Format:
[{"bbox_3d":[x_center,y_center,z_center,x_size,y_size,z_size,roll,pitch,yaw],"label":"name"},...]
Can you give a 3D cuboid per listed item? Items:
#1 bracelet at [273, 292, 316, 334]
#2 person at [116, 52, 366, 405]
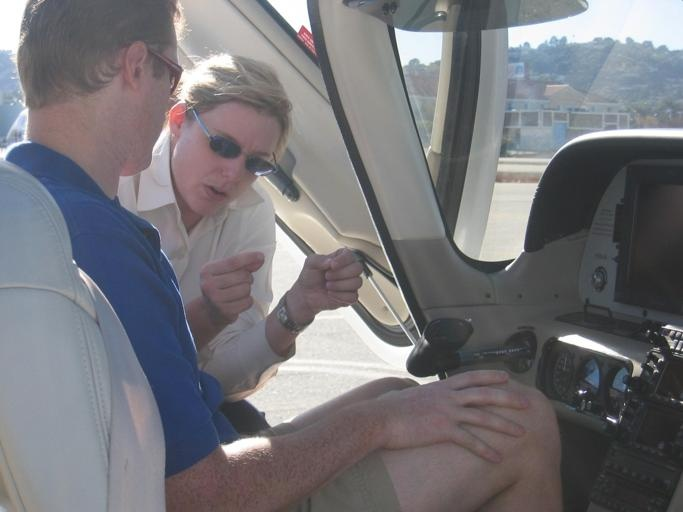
[{"bbox_3d":[-0.189,0.215,2.339,0.143,0.056,0.142,43,42,-10],"label":"bracelet"},{"bbox_3d":[-0.290,-0.121,2.910,1.234,1.771,1.039,6,0,31],"label":"person"}]
